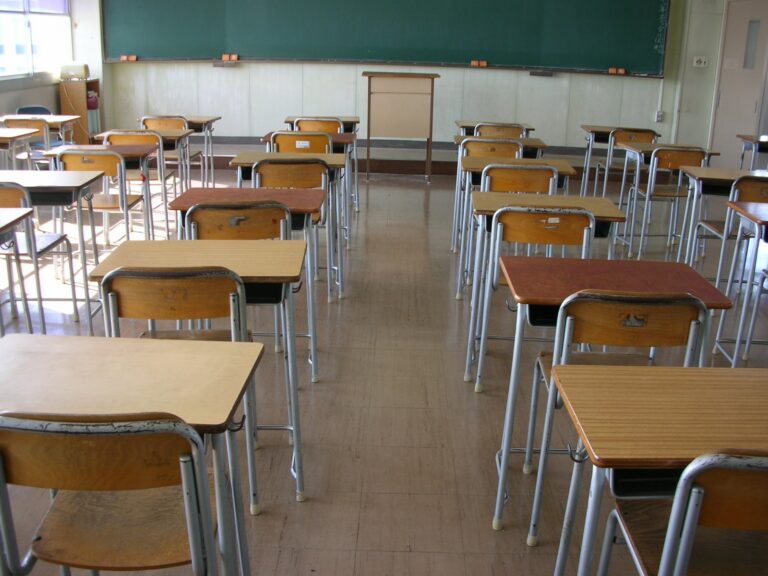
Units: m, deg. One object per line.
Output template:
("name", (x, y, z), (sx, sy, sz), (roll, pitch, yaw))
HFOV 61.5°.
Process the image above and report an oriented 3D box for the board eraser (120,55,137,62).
("board eraser", (-3.288, -2.965, 8.364), (0.137, 0.098, 0.037), (3, -8, -3))
